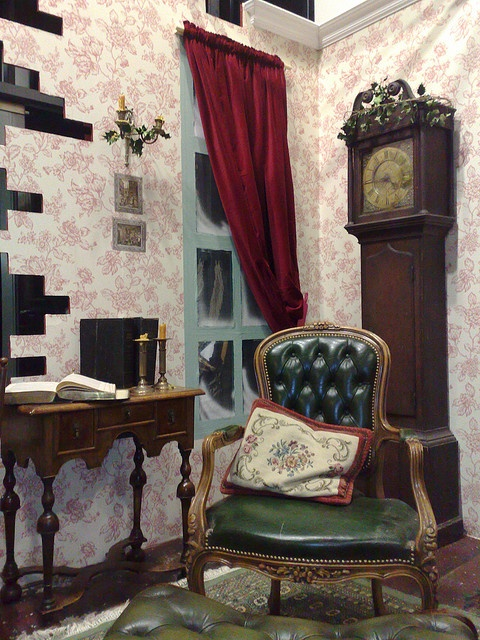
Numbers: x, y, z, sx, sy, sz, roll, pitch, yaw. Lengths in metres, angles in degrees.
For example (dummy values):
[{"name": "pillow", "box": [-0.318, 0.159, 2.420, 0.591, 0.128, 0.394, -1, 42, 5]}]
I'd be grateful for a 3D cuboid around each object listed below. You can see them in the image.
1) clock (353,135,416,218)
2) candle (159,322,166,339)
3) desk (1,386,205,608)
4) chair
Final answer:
[{"name": "clock", "box": [0.672, -0.649, 2.757, 0.031, 0.316, 0.327, -1, 2, -31]}, {"name": "candle", "box": [-0.305, 0.047, 2.295, 0.025, 0.055, 0.063, 0, 2, -1]}, {"name": "desk", "box": [-0.525, 0.646, 2.146, 0.270, 0.747, 0.661, 0, 0, 37]}, {"name": "chair", "box": [0.219, 0.506, 1.893, 0.667, 0.971, 0.727, 0, 2, 8]}]
